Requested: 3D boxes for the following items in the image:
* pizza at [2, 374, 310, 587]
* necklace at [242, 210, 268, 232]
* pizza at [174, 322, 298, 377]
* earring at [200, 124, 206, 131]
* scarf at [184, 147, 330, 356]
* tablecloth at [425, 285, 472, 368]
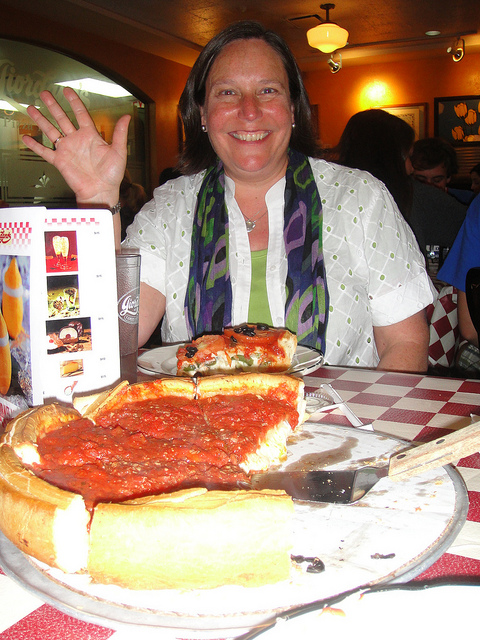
[{"bbox_3d":[-0.084,0.159,0.470,0.170,0.046,0.223,0,15,-3],"label":"pizza"},{"bbox_3d":[0.057,-0.354,1.912,0.065,0.070,0.071,2,-36,20],"label":"necklace"},{"bbox_3d":[-0.010,0.052,1.149,0.197,0.060,0.126,-3,6,-5],"label":"pizza"},{"bbox_3d":[-0.143,-0.752,2.065,0.014,0.021,0.037,-5,7,-38],"label":"earring"},{"bbox_3d":[0.053,-0.219,1.832,0.491,0.673,0.324,-4,14,-16],"label":"scarf"},{"bbox_3d":[0.906,0.037,2.366,0.216,0.450,0.237,1,13,5],"label":"tablecloth"}]
